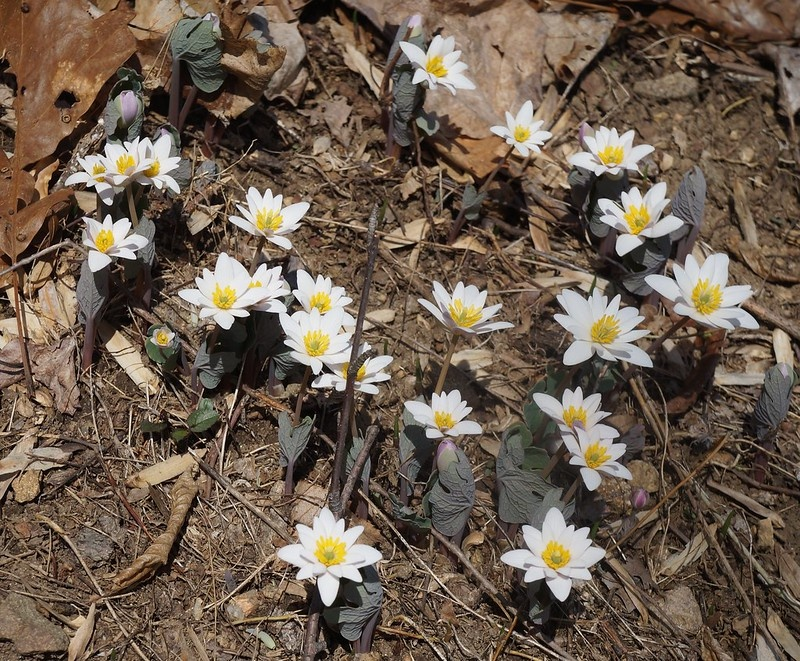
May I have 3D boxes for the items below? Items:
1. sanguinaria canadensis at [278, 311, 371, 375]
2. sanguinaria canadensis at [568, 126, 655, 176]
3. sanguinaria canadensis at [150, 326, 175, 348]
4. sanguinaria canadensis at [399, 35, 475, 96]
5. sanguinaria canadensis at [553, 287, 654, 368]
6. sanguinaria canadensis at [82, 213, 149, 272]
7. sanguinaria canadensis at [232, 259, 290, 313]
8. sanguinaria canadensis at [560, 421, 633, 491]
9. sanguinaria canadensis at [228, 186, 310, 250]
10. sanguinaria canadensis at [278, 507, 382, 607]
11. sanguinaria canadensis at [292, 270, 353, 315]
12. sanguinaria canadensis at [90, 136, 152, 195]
[{"bbox_3d":[-0.277,0.034,2.785,0.185,0.075,0.236,18,63,-15],"label":"sanguinaria canadensis"},{"bbox_3d":[0.865,-0.717,3.439,0.329,0.162,0.192,-5,59,0],"label":"sanguinaria canadensis"},{"bbox_3d":[-0.855,0.024,3.012,0.064,0.034,0.077,5,73,-8],"label":"sanguinaria canadensis"},{"bbox_3d":[0.148,-1.065,3.431,0.264,0.079,0.285,38,65,-20],"label":"sanguinaria canadensis"},{"bbox_3d":[0.675,0.002,2.802,0.321,0.208,0.271,-3,59,1],"label":"sanguinaria canadensis"},{"bbox_3d":[-1.024,-0.328,2.913,0.186,0.241,0.102,2,101,33],"label":"sanguinaria canadensis"},{"bbox_3d":[-0.476,-0.162,2.872,0.080,0.217,0.206,30,38,5],"label":"sanguinaria canadensis"},{"bbox_3d":[0.648,0.409,2.725,0.203,0.157,0.208,-19,60,-9],"label":"sanguinaria canadensis"},{"bbox_3d":[-0.493,-0.399,3.042,0.214,0.259,0.096,11,91,-21],"label":"sanguinaria canadensis"},{"bbox_3d":[-0.215,0.700,2.566,0.261,0.146,0.243,-38,65,-18],"label":"sanguinaria canadensis"},{"bbox_3d":[-0.290,-0.119,2.963,0.154,0.069,0.181,23,49,-10],"label":"sanguinaria canadensis"},{"bbox_3d":[-0.977,-0.567,2.959,0.244,0.140,0.274,-17,31,-20],"label":"sanguinaria canadensis"}]
